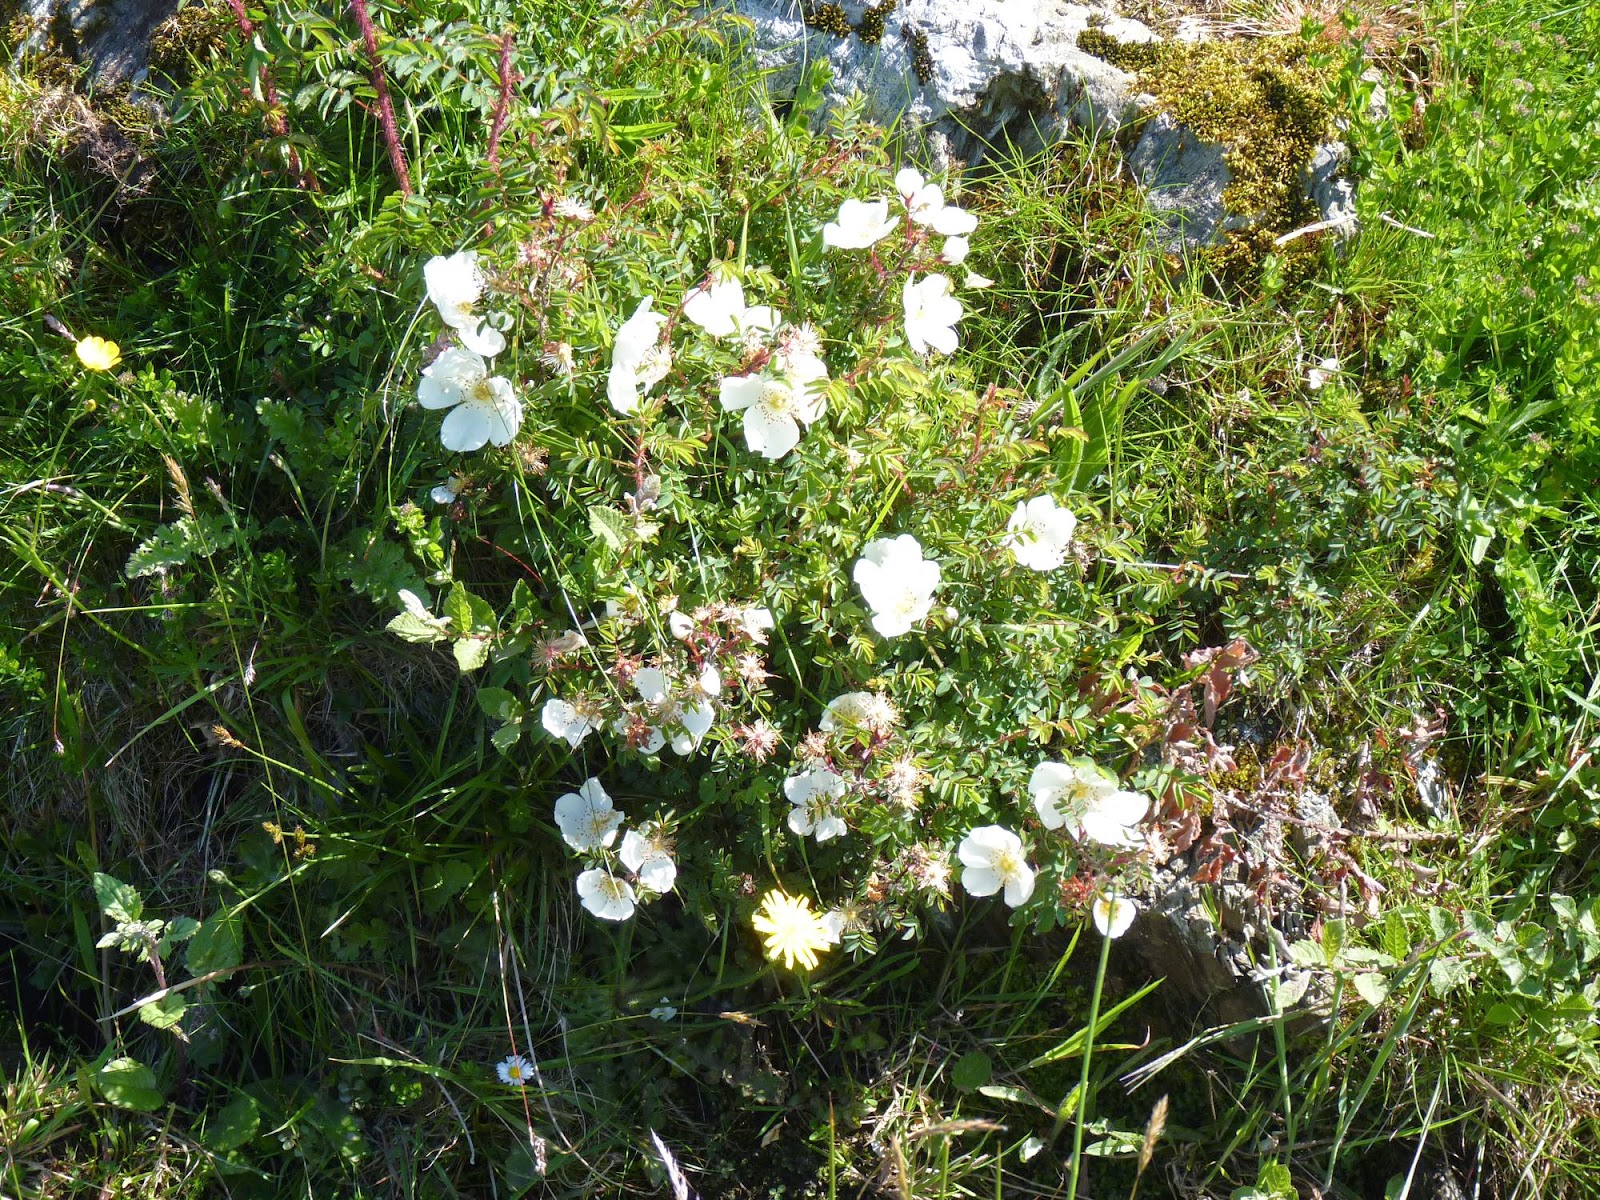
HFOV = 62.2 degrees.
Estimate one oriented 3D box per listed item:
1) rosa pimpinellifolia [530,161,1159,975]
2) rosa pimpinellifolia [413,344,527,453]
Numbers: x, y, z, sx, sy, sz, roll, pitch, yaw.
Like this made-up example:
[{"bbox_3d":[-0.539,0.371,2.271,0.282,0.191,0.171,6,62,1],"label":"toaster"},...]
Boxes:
[{"bbox_3d":[0.073,0.070,3.284,1.510,1.988,0.914,16,22,-1],"label":"rosa pimpinellifolia"},{"bbox_3d":[-0.737,-0.450,3.048,0.247,0.254,0.111,5,54,7],"label":"rosa pimpinellifolia"}]
